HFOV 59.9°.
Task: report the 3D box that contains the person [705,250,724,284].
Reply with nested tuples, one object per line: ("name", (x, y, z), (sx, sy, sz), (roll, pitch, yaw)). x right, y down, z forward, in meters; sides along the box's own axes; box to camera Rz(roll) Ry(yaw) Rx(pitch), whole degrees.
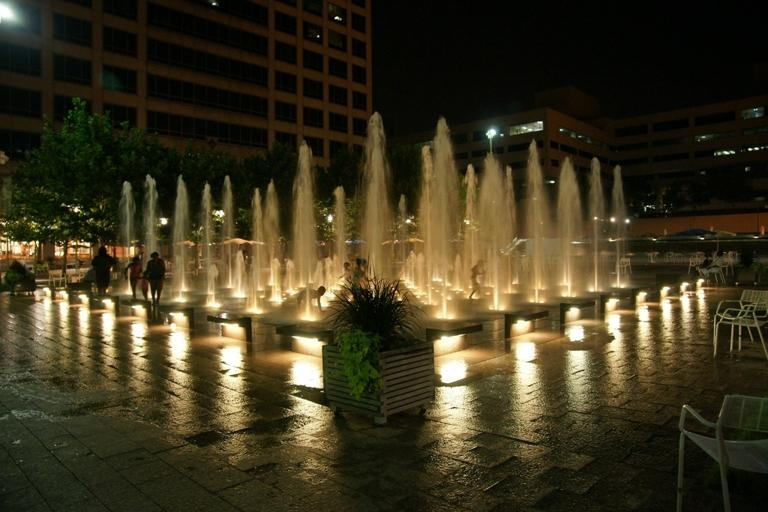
("person", (15.554, 0.584, 31.280), (1.000, 1.289, 0.925), (-7, 2, 31))

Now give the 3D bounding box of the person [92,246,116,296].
("person", (-10.688, 0.546, 25.288), (0.879, 1.819, 0.566), (-2, 9, -36))
